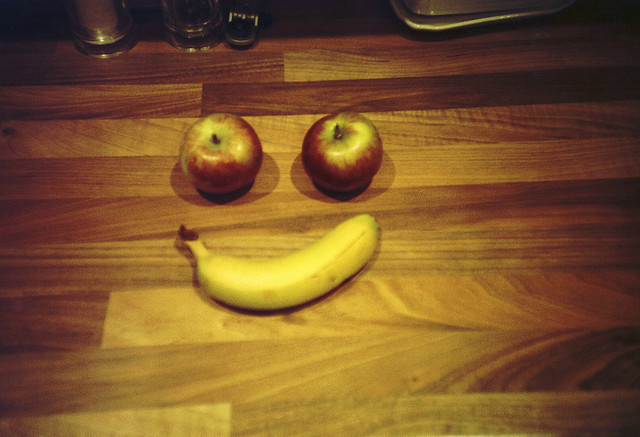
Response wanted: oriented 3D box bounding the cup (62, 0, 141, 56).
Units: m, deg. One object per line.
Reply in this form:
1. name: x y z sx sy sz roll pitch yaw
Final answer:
1. cup: -0.691 -0.598 1.803 0.145 0.202 0.138 -2 65 4

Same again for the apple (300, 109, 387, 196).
1. apple: 0.063 -0.193 1.669 0.262 0.256 0.212 -17 106 -15

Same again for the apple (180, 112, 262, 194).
1. apple: -0.290 -0.198 1.645 0.257 0.256 0.232 6 91 -5
